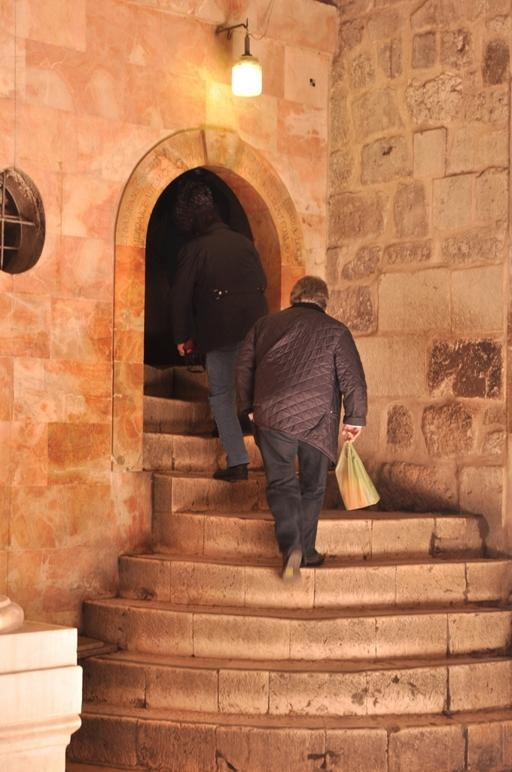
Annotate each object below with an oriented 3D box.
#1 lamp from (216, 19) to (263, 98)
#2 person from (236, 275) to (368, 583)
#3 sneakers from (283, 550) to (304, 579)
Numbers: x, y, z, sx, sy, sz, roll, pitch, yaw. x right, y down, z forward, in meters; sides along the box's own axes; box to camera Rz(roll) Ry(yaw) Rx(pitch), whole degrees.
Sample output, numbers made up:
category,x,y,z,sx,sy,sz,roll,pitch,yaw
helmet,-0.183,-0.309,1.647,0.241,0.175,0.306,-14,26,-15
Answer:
category,x,y,z,sx,sy,sz,roll,pitch,yaw
lamp,-0.041,-1.723,6.603,0.120,0.431,0.245,0,-5,13
person,0.200,0.156,5.668,0.576,1.367,0.387,-1,-3,1
sneakers,0.163,0.770,5.454,0.056,0.148,0.053,4,10,-2
